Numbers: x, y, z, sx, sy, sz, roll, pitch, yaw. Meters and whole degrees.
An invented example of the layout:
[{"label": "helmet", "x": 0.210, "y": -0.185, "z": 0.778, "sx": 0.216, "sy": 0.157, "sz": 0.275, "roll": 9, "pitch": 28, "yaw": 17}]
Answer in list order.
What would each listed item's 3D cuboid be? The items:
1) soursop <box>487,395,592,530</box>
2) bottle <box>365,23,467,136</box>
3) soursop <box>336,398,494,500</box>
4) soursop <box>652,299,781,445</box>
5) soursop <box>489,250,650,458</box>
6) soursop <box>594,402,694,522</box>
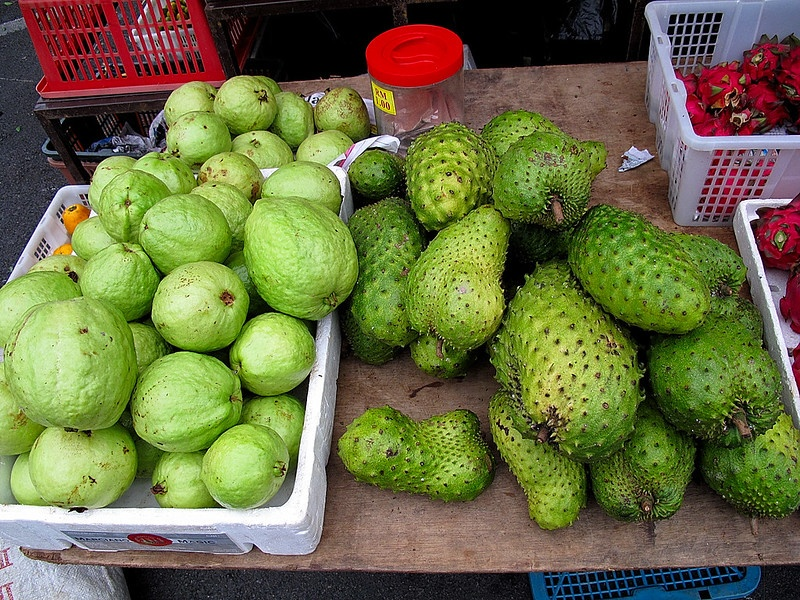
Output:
[{"label": "soursop", "x": 0.464, "y": 0.549, "z": 2.381, "sx": 0.287, "sy": 0.477, "sz": 0.213, "roll": -28, "pitch": 3, "yaw": 46}, {"label": "bottle", "x": 0.094, "y": -0.964, "z": 3.224, "sx": 0.426, "sy": 0.492, "sz": 0.450, "roll": -7, "pitch": 47, "yaw": 2}, {"label": "soursop", "x": 0.068, "y": 0.536, "z": 2.372, "sx": 0.479, "sy": 0.256, "sz": 0.317, "roll": 5, "pitch": 43, "yaw": 2}, {"label": "soursop", "x": 1.045, "y": 0.273, "z": 2.270, "sx": 0.378, "sy": 0.266, "sz": 0.387, "roll": -21, "pitch": 53, "yaw": -12}, {"label": "soursop", "x": 0.642, "y": 0.253, "z": 2.353, "sx": 0.466, "sy": 0.407, "sz": 0.687, "roll": -11, "pitch": 18, "yaw": 44}, {"label": "soursop", "x": 0.838, "y": 0.561, "z": 2.360, "sx": 0.302, "sy": 0.254, "sz": 0.371, "roll": -4, "pitch": 55, "yaw": 46}]
